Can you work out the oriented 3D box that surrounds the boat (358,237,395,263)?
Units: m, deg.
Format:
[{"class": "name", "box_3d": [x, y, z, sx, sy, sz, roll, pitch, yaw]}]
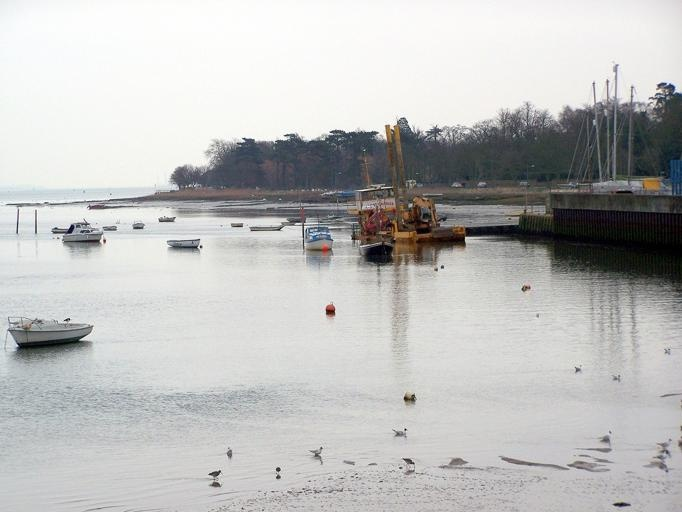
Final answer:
[{"class": "boat", "box_3d": [2.664, -0.345, 75.744, 1.731, 1.495, 5.645, -2, 3, -7]}]

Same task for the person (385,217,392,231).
[{"class": "person", "box_3d": [3.994, -2.661, 85.645, 0.557, 1.071, 0.978, 0, 10, 12]}]

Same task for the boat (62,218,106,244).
[{"class": "boat", "box_3d": [-26.384, -2.109, 102.041, 6.108, 2.893, 2.728, 4, 4, 43]}]
